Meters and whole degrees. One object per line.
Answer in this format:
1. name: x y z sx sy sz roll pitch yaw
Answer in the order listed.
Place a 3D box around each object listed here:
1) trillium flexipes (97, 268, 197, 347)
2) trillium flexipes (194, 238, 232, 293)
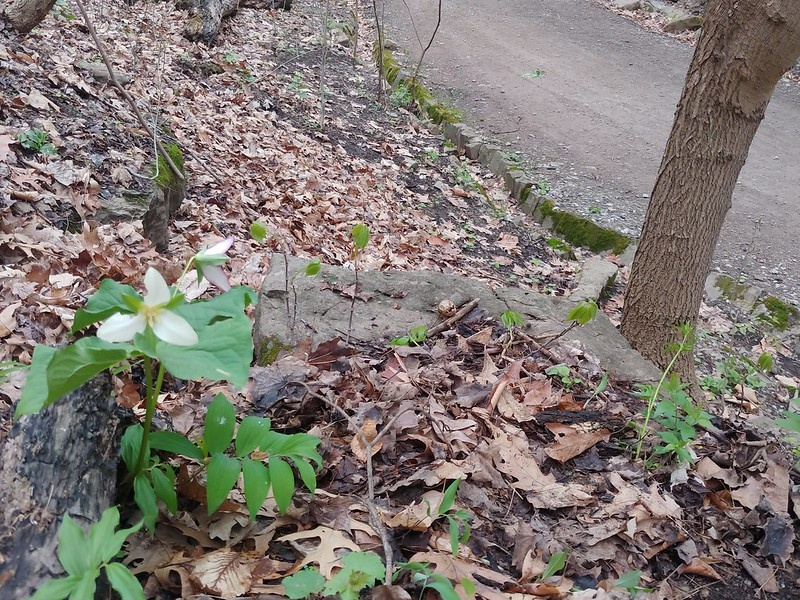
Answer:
1. trillium flexipes: -1.152 0.049 3.323 0.438 0.301 0.243 11 33 -12
2. trillium flexipes: -0.971 -0.161 3.668 0.190 0.315 0.243 7 34 -17
